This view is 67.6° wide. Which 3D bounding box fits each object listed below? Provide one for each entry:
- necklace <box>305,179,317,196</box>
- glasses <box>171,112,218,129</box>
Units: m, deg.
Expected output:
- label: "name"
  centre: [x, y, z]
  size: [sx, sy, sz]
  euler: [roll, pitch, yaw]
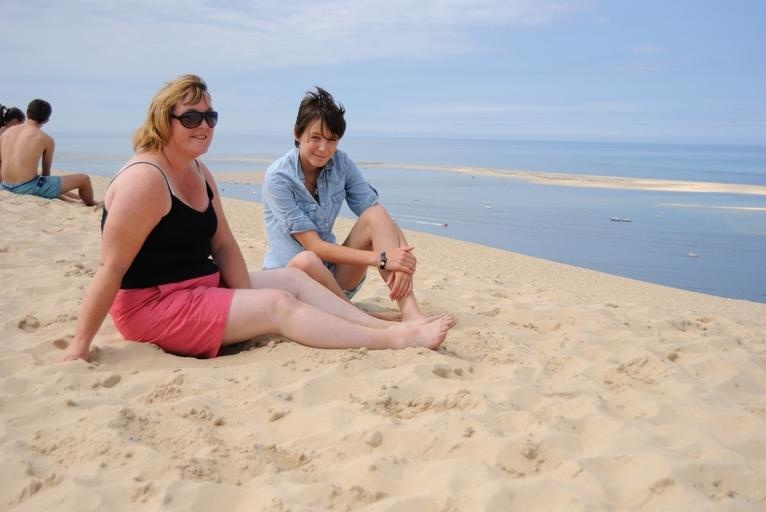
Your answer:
- label: "necklace"
  centre: [-0.559, -0.522, 4.513]
  size: [0.103, 0.108, 0.046]
  euler: [-3, -5, -28]
- label: "glasses"
  centre: [-1.193, -0.842, 3.636]
  size: [0.280, 0.137, 0.085]
  euler: [4, 8, -29]
